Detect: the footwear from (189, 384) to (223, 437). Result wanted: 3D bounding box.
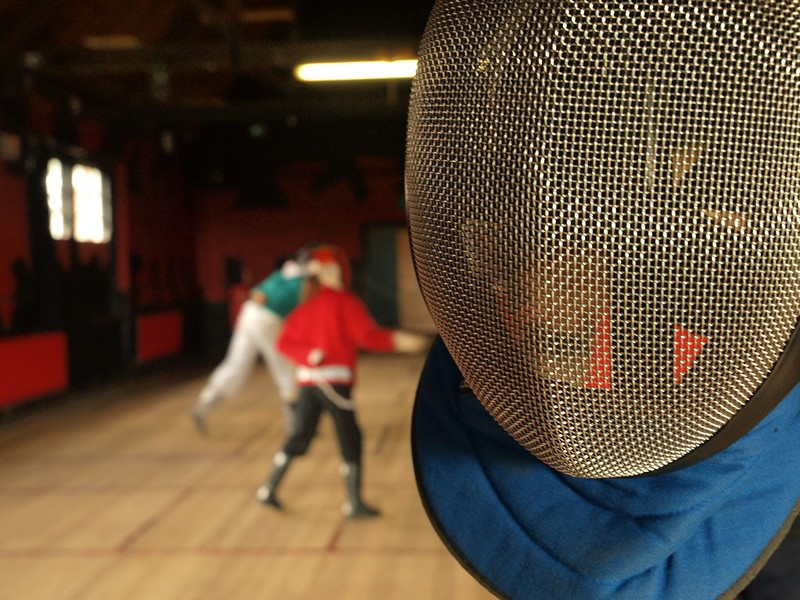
[{"bbox_3d":[-0.256,0.141,1.028,0.025,0.087,0.060,9,-10,-44],"label":"footwear"}]

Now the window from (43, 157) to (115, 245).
[{"bbox_3d":[-1.190,-0.350,2.960,0.208,0.342,0.686,-5,11,-23],"label":"window"}]
